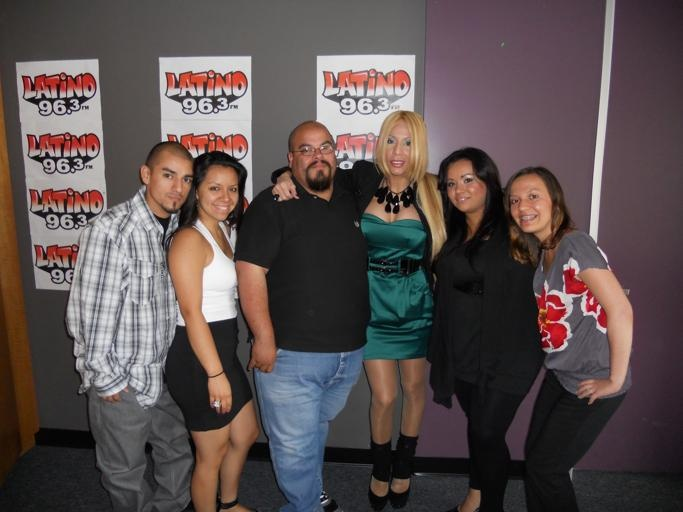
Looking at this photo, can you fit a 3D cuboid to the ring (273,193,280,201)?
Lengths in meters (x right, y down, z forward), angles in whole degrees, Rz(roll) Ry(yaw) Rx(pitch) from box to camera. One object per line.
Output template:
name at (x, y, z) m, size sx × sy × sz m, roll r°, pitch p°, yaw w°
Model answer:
ring at (-0.394, -0.355, 3.253) m, size 0.031 × 0.041 × 0.017 m, roll 9°, pitch 36°, yaw 34°

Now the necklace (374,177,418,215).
necklace at (0.350, -0.383, 3.564) m, size 0.190 × 0.209 × 0.072 m, roll 2°, pitch -16°, yaw 3°

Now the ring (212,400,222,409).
ring at (-0.732, 0.878, 3.202) m, size 0.050 × 0.056 × 0.023 m, roll -20°, pitch 11°, yaw 13°

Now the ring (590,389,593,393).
ring at (1.436, 0.775, 3.096) m, size 0.004 × 0.019 × 0.019 m, roll 29°, pitch 73°, yaw 31°
